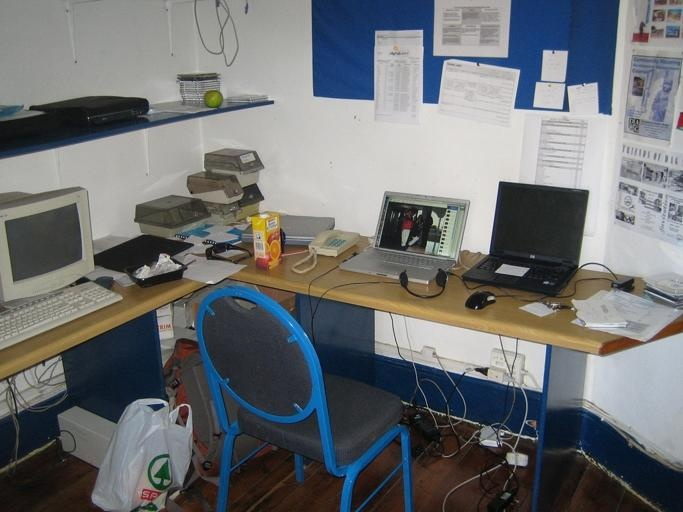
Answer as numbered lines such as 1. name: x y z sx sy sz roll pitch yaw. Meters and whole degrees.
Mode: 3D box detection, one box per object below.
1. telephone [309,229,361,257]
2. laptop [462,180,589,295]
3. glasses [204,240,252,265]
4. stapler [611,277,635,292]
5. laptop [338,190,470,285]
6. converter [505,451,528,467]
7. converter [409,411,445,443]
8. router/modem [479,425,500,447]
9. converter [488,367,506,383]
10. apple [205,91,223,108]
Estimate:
1. telephone: -0.031 -0.098 2.695 0.131 0.070 0.199 8 23 25
2. laptop: 0.849 -0.079 2.436 0.484 0.402 0.526 12 28 31
3. glasses: -0.560 -0.012 2.644 0.154 0.048 0.122 12 22 26
4. stapler: 1.173 0.112 2.248 0.096 0.055 0.046 -11 14 -39
5. laptop: 0.306 -0.218 2.461 0.467 0.308 0.480 13 29 29
6. converter: 0.862 0.996 2.635 0.066 0.016 0.065 7 19 28
7. converter: 0.438 0.887 2.804 0.095 0.063 0.170 -10 22 -24
8. router/modem: 0.755 0.917 2.750 0.100 0.102 0.077 4 13 34
9. converter: 0.807 0.621 2.794 0.079 0.058 0.057 5 10 36
10. apple: -0.676 -0.816 2.815 0.084 0.089 0.088 6 10 -10
